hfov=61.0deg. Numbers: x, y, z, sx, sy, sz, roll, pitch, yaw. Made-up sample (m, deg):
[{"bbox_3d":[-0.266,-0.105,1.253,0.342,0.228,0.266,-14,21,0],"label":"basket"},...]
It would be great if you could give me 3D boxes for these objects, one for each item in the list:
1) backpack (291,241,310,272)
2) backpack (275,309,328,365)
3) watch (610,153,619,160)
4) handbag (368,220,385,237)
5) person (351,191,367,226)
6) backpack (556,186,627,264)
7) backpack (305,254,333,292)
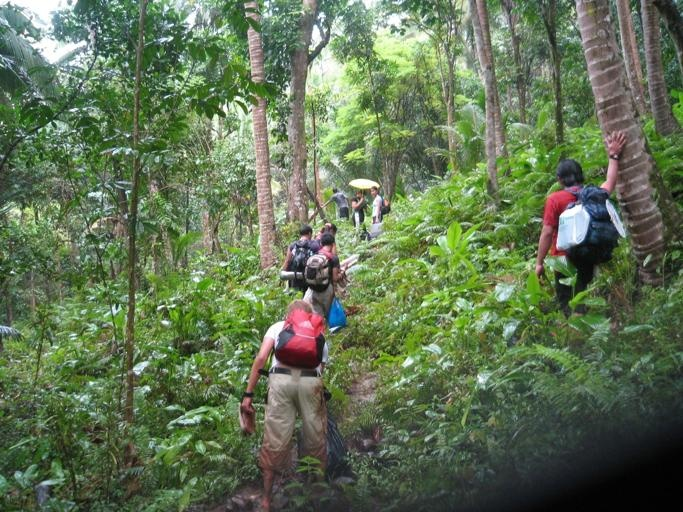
[{"bbox_3d":[-0.640,0.006,9.142,0.285,0.478,0.268,5,-32,7],"label":"backpack"},{"bbox_3d":[-0.445,0.914,6.393,0.545,0.820,0.426,10,-44,-8],"label":"backpack"},{"bbox_3d":[3.151,-1.149,6.708,0.066,0.045,0.064,-4,4,25],"label":"watch"},{"bbox_3d":[0.812,-0.619,13.296,0.289,0.334,0.282,11,18,42],"label":"handbag"},{"bbox_3d":[0.443,-1.208,15.039,0.340,0.897,1.326,-10,-3,2],"label":"person"},{"bbox_3d":[2.767,-0.361,6.501,0.676,0.816,0.418,-5,-5,-10],"label":"backpack"},{"bbox_3d":[-0.262,0.256,8.453,0.398,0.631,0.454,0,1,23],"label":"backpack"}]
